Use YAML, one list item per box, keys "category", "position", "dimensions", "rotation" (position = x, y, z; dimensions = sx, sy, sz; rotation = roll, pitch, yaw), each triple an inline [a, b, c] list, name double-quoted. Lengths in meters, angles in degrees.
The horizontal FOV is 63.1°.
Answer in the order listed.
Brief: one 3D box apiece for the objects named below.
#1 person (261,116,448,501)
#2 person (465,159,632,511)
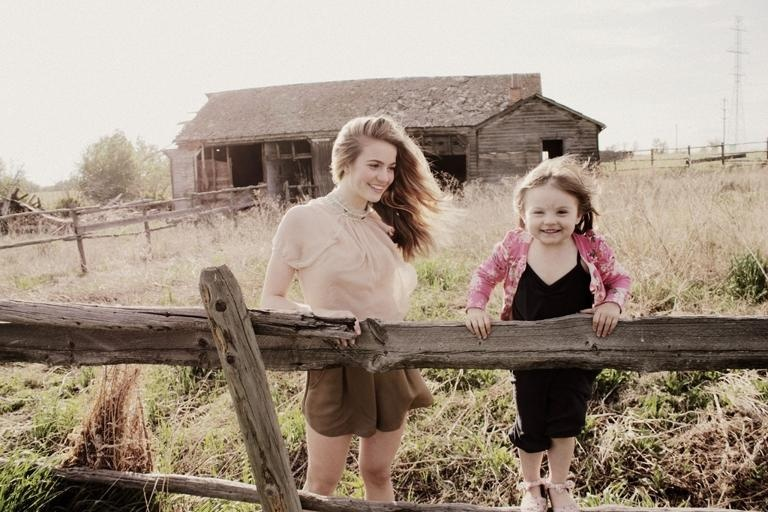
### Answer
- category: "person"
  position: [-0.180, 0.418, 4.903]
  dimensions: [1.432, 3.024, 0.676]
  rotation: [-6, 5, -34]
- category: "person"
  position: [1.283, 0.566, 4.795]
  dimensions: [1.210, 2.696, 0.715]
  rotation: [-3, 4, 7]
